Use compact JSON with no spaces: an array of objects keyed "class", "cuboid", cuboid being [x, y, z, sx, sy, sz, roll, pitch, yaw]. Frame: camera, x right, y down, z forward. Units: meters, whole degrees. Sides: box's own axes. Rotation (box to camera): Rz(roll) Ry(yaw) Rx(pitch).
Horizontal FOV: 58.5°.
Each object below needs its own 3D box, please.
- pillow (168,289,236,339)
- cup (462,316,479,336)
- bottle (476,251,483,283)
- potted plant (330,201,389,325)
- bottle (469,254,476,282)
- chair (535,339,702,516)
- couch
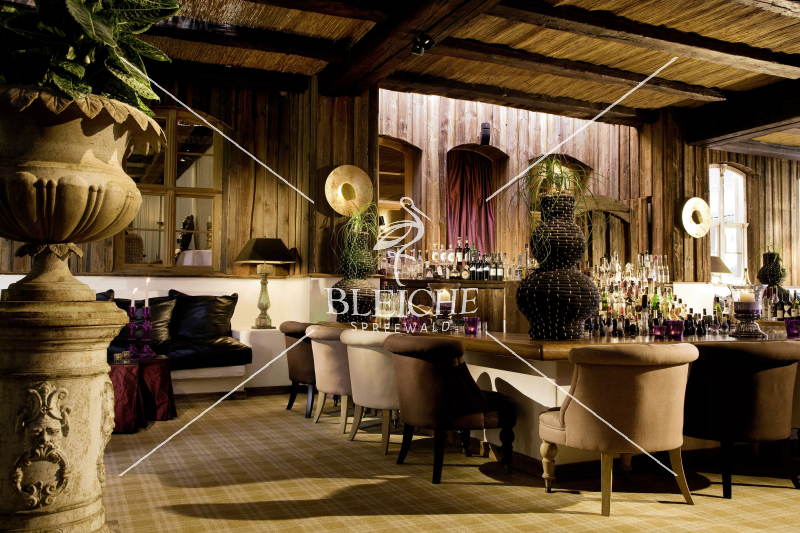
[{"class":"pillow","cuboid":[-2.135,0.587,7.834,0.859,0.708,0.449,2,-30,-17]},{"class":"cup","cuboid":[0.570,0.471,5.628,0.120,0.128,0.117,0,-1,0]},{"class":"bottle","cuboid":[0.985,0.023,8.877,0.077,0.269,0.237,1,3,8]},{"class":"potted plant","cuboid":[-0.483,-0.043,7.648,0.498,1.233,1.190,0,3,-3]},{"class":"bottle","cuboid":[0.917,0.007,8.918,0.096,0.299,0.290,1,3,5]},{"class":"chair","cuboid":[1.323,0.980,4.681,0.955,1.091,1.000,2,-3,-20]},{"class":"couch","cuboid":[-2.340,0.771,7.610,1.798,1.318,1.033,1,-2,-27]}]
